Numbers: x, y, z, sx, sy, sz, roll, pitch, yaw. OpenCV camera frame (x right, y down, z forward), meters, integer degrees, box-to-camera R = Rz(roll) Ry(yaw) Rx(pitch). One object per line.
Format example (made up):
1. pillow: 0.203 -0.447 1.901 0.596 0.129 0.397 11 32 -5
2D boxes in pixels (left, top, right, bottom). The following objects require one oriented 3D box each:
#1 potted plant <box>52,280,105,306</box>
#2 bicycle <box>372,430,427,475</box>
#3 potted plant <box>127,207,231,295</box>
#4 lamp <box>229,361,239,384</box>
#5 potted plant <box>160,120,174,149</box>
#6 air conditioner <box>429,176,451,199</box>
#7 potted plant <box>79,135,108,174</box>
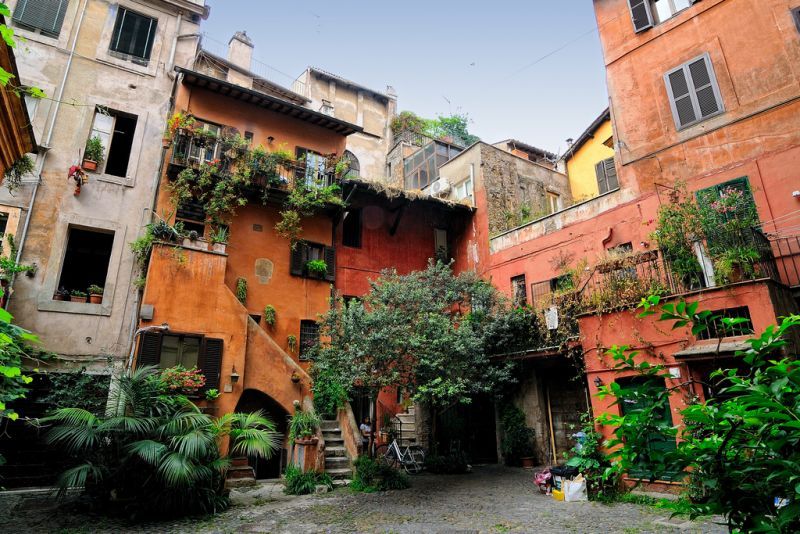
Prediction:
1. potted plant: -9.682 0.790 15.078 0.596 0.520 1.199 -10 -14 40
2. bicycle: 0.056 6.237 16.521 1.783 1.041 0.867 2 -20 -18
3. potted plant: -7.261 -0.359 16.092 2.553 2.661 1.887 6 -5 -40
4. lamp: -4.928 3.165 14.887 0.283 0.573 0.206 5 -19 -17
5. potted plant: -7.929 -4.447 17.024 0.438 0.821 0.233 -18 -25 41
6. air conditioner: 1.889 -3.805 23.494 1.033 1.117 0.395 -17 -24 38
7. potted plant: -9.821 -3.635 15.962 0.538 1.333 0.525 1 -19 -8
